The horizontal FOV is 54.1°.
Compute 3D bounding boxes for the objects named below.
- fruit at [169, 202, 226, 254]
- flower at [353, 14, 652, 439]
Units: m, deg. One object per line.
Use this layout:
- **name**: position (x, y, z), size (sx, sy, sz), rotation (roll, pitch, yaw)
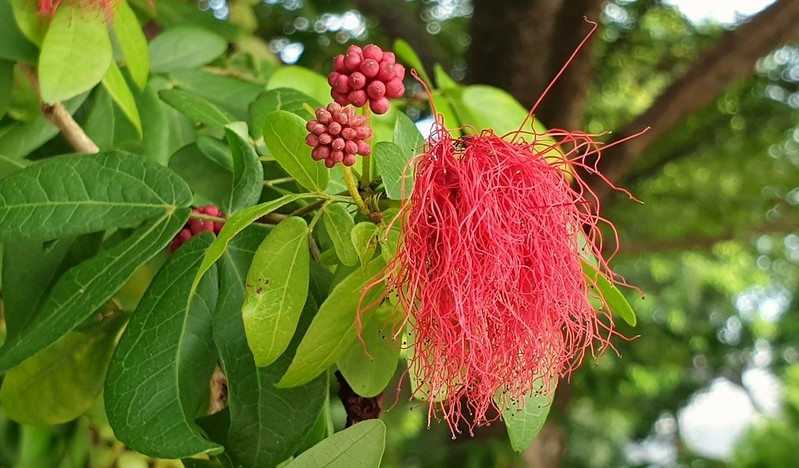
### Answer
- **fruit**: position (-0.386, 0.003, 1.573), size (0.050, 0.116, 0.089), rotation (34, 26, -31)
- **flower**: position (0.190, 0.037, 1.504), size (0.524, 0.546, 0.411), rotation (8, 34, -16)
